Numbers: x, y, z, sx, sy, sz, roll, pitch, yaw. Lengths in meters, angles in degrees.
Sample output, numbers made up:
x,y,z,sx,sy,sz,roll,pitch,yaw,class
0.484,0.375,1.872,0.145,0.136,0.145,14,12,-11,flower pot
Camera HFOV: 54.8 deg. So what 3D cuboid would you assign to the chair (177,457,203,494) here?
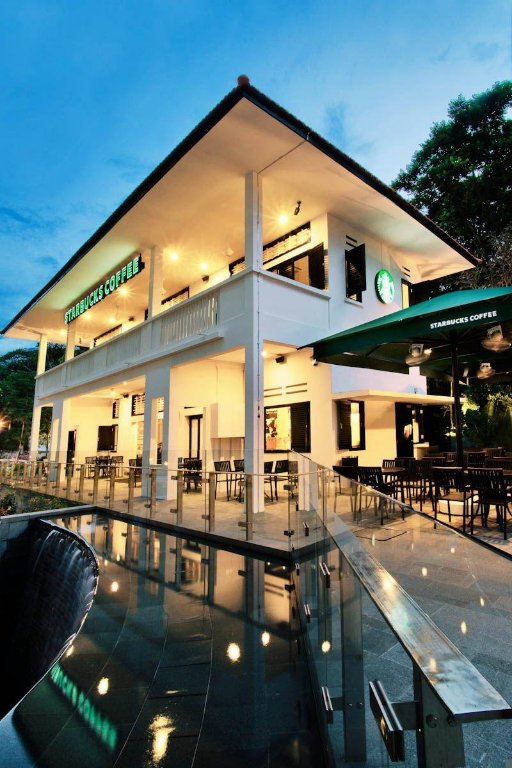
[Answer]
x,y,z,sx,sy,sz,roll,pitch,yaw,class
-1.189,1.638,8.877,0.422,0.791,0.476,5,-17,-19,chair
